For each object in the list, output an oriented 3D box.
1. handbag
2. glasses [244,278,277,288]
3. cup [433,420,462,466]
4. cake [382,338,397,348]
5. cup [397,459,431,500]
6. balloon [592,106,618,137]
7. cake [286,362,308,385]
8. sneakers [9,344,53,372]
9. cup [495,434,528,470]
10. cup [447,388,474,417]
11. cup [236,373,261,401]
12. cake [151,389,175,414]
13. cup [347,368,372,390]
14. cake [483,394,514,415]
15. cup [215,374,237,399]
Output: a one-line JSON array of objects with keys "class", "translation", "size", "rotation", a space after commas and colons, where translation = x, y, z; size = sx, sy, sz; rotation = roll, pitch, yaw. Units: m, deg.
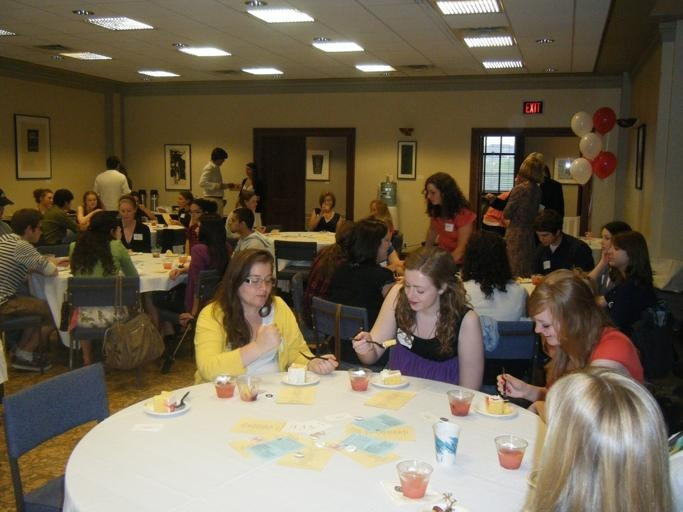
[{"class": "handbag", "translation": [-1.684, 0.681, 4.251], "size": [0.256, 0.498, 0.491], "rotation": [-13, -5, 33]}, {"class": "glasses", "translation": [-0.461, 0.138, 2.770], "size": [0.124, 0.040, 0.126], "rotation": [2, -6, -44]}, {"class": "cup", "translation": [0.353, 0.627, 1.807], "size": [0.108, 0.136, 0.135], "rotation": [0, -2, -3]}, {"class": "cake", "translation": [0.245, 0.446, 2.749], "size": [0.034, 0.027, 0.132], "rotation": [-27, -13, 28]}, {"class": "cup", "translation": [0.227, 0.689, 1.659], "size": [0.110, 0.103, 0.093], "rotation": [0, 11, -1]}, {"class": "balloon", "translation": [3.829, -1.967, 7.742], "size": [0.306, 0.375, 0.297], "rotation": [8, 13, 36]}, {"class": "cake", "translation": [-0.211, 0.545, 2.480], "size": [0.077, 0.075, 0.081], "rotation": [-1, 5, 4]}, {"class": "sneakers", "translation": [-2.756, 0.911, 4.699], "size": [0.379, 0.191, 0.161], "rotation": [2, 0, -3]}, {"class": "cup", "translation": [0.571, 0.658, 1.808], "size": [0.099, 0.080, 0.102], "rotation": [1, 0, 0]}, {"class": "cup", "translation": [0.484, 0.597, 2.178], "size": [0.090, 0.077, 0.099], "rotation": [1, -1, 0]}, {"class": "cup", "translation": [-0.403, 0.558, 2.284], "size": [0.095, 0.080, 0.100], "rotation": [0, -3, 0]}, {"class": "cake", "translation": [-0.745, 0.599, 2.220], "size": [0.080, 0.089, 0.084], "rotation": [2, 4, 2]}, {"class": "cup", "translation": [0.078, 0.566, 2.450], "size": [0.080, 0.072, 0.090], "rotation": [0, -6, 7]}, {"class": "cake", "translation": [0.646, 0.612, 2.201], "size": [0.088, 0.050, 0.069], "rotation": [1, -2, 9]}, {"class": "cup", "translation": [-0.508, 0.567, 2.314], "size": [0.084, 0.079, 0.088], "rotation": [3, -5, 0]}]
